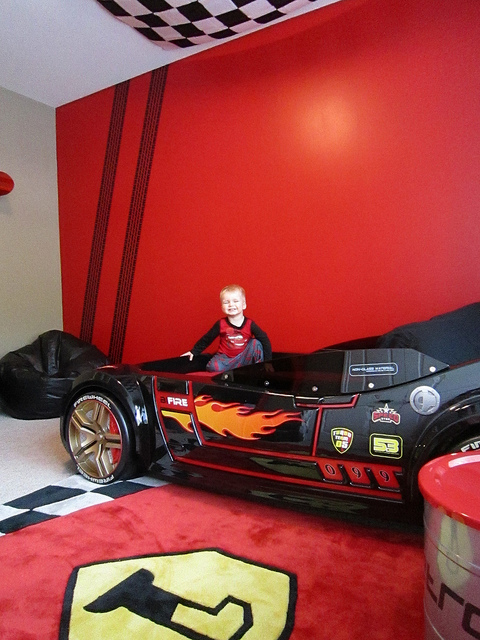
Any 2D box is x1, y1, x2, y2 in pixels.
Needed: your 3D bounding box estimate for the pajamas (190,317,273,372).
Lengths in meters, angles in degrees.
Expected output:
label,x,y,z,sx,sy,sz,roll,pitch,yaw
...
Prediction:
label,x,y,z,sx,sy,sz,roll,pitch,yaw
pajamas,-0.028,0.115,2.318,0.461,0.287,0.241,7,25,6
